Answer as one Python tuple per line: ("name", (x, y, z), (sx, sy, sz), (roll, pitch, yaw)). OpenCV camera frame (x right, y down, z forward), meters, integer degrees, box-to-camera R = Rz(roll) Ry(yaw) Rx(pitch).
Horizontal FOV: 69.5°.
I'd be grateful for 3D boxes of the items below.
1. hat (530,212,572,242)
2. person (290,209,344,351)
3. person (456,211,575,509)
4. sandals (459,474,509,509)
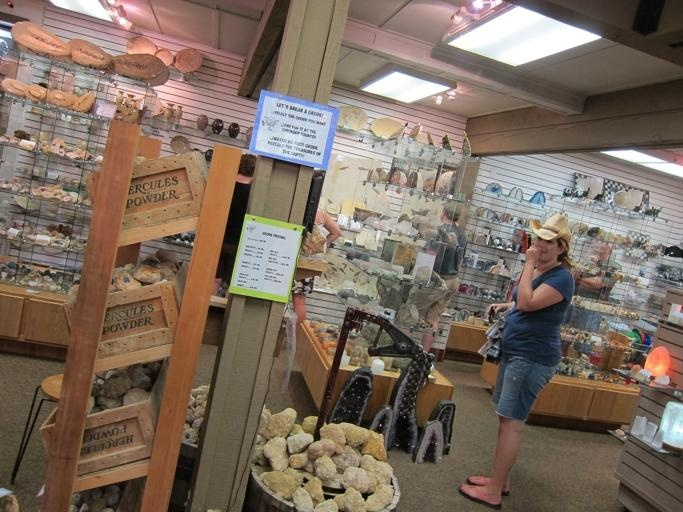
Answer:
("hat", (1.675, -0.218, 3.923), (0.291, 0.207, 0.340), (11, 5, 19))
("person", (-0.297, 0.321, 4.871), (0.385, 1.549, 1.554), (11, 5, -1))
("person", (1.463, 0.855, 3.981), (0.483, 2.174, 0.453), (15, 7, 35))
("sandals", (1.169, 1.948, 4.061), (0.308, 0.093, 0.239), (15, 1, 24))
